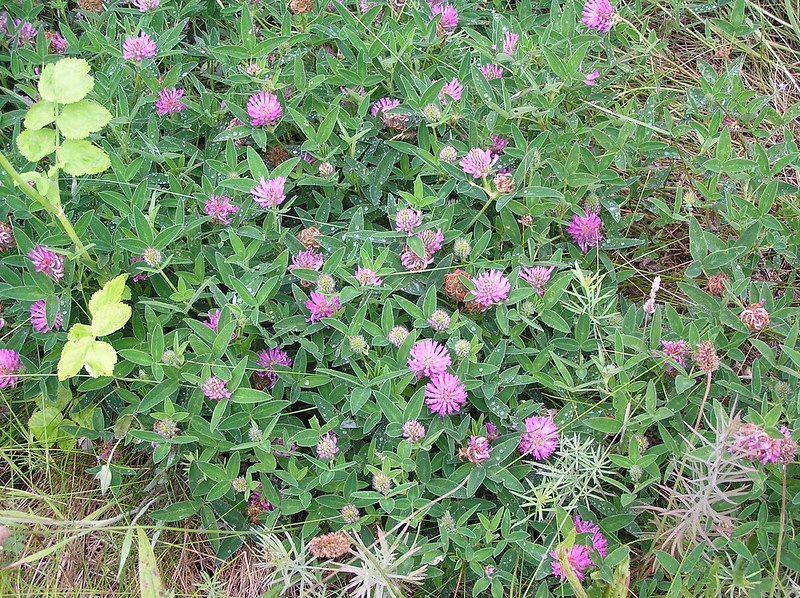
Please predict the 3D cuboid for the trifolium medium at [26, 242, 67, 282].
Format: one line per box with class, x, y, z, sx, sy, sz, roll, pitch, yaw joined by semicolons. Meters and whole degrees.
trifolium medium;-1.527;-0.165;3.060;0.150;0.074;0.149;30;88;-1
